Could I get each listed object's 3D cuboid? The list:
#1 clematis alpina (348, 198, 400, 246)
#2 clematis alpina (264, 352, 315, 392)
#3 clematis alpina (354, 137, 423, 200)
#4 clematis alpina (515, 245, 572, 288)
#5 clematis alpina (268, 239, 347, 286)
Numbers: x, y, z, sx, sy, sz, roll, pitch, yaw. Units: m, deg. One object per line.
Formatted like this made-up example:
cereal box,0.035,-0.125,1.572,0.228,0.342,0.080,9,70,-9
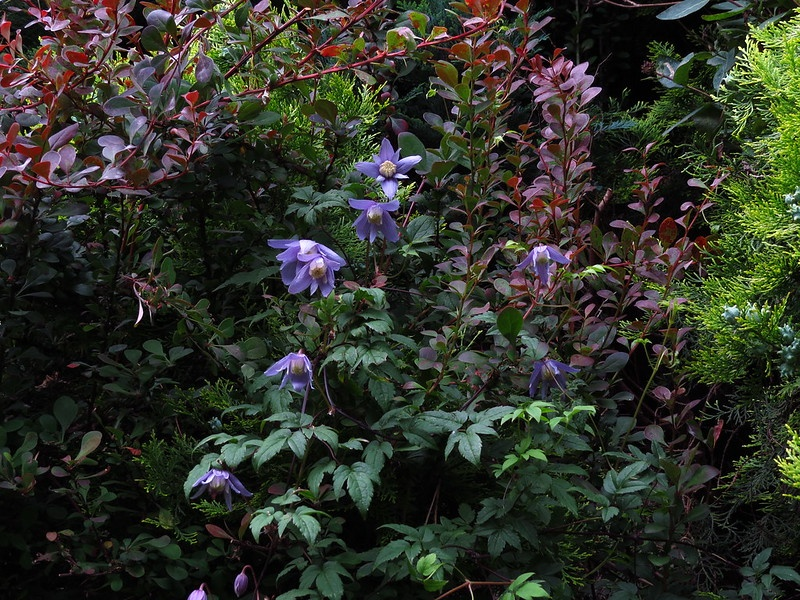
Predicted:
clematis alpina,-0.056,-0.212,1.914,0.121,0.132,0.201,6,16,6
clematis alpina,-0.266,0.175,1.790,0.124,0.105,0.070,7,17,12
clematis alpina,-0.027,-0.375,1.886,0.130,0.024,0.127,2,-18,42
clematis alpina,0.376,-0.099,1.890,0.127,0.065,0.113,-10,-24,6
clematis alpina,-0.240,-0.108,1.788,0.146,0.043,0.137,-25,52,-33
